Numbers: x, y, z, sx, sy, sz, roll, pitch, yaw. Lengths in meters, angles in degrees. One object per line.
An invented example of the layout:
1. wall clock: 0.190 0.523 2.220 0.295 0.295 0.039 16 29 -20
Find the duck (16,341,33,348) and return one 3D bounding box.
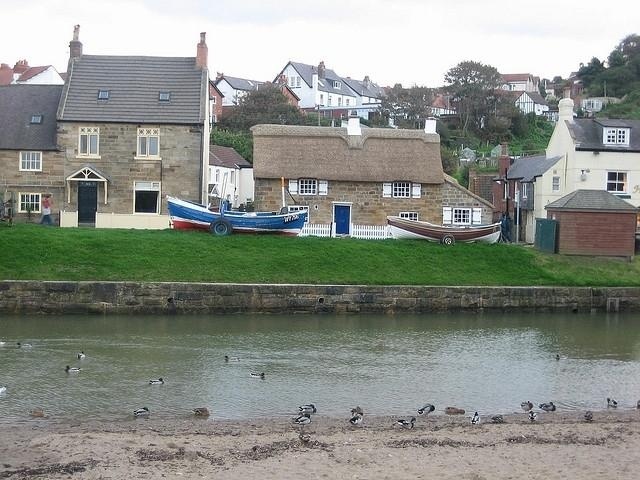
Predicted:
1. duck: -16.503 5.854 83.969 0.890 0.259 0.652 -1 2 -11

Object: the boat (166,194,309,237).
1. boat: -5.695 -1.515 98.913 8.424 2.605 1.648 -1 2 3

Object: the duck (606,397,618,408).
1. duck: 15.380 8.632 79.724 0.293 0.519 0.751 -1 4 -12

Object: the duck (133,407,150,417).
1. duck: -9.302 8.926 77.988 0.629 0.250 0.444 -4 2 23

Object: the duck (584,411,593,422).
1. duck: 14.010 9.177 78.310 0.334 0.680 0.509 -2 1 32

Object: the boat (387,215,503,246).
1. boat: 8.158 -0.623 99.822 7.260 1.783 1.292 -1 2 -7

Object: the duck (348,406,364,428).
1. duck: 1.836 9.141 78.049 0.827 0.925 1.152 -1 2 0

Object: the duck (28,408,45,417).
1. duck: -14.620 8.944 77.752 0.730 0.326 0.567 -1 2 -11

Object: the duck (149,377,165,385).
1. duck: -8.724 7.538 80.432 0.531 0.322 0.365 3 4 2

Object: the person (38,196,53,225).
1. person: -18.460 -2.017 101.243 0.847 1.980 0.888 -1 2 -5

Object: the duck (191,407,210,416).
1. duck: -6.187 8.936 78.138 0.601 0.243 0.449 10 9 6
